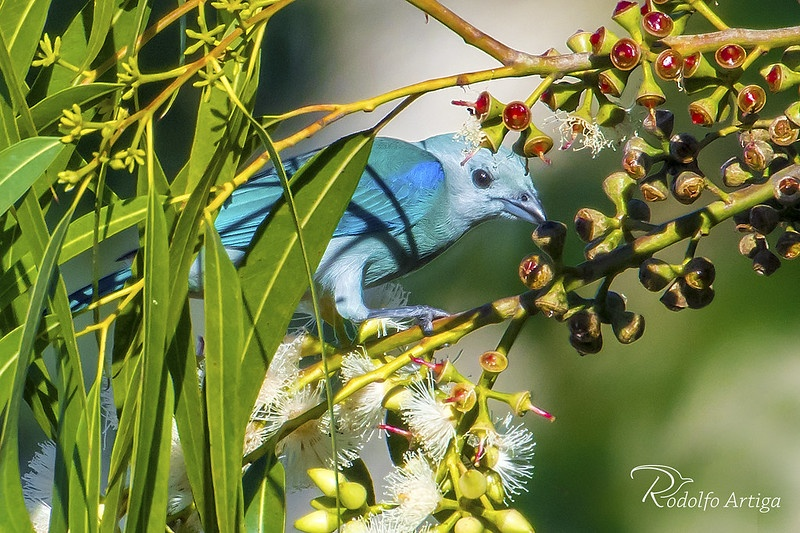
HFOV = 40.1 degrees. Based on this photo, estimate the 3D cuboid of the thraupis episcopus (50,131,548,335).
[{"bbox_3d":[-0.235,-0.142,3.084,1.199,0.398,0.584,9,88,-2],"label":"thraupis episcopus"}]
